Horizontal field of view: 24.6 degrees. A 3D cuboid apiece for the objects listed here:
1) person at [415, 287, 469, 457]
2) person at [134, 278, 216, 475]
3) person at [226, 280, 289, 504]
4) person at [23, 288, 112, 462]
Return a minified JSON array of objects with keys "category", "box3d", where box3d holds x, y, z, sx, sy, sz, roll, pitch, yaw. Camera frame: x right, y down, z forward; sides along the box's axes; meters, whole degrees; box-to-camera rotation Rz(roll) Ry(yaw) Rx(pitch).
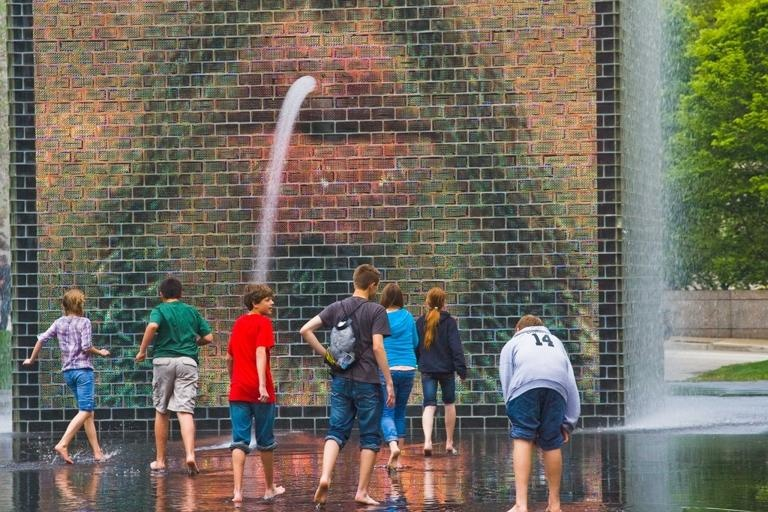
[{"category":"person","box3d":[1.029,2.132,31.425,0.821,3.010,0.613,-2,-6,1]},{"category":"person","box3d":[-3.635,2.155,30.769,1.182,3.482,0.769,-3,-6,5]},{"category":"person","box3d":[-2.182,2.347,29.189,0.774,3.641,0.596,-2,-6,-4]},{"category":"person","box3d":[-5.583,2.214,31.682,1.187,3.214,0.874,-2,-6,-3]}]
